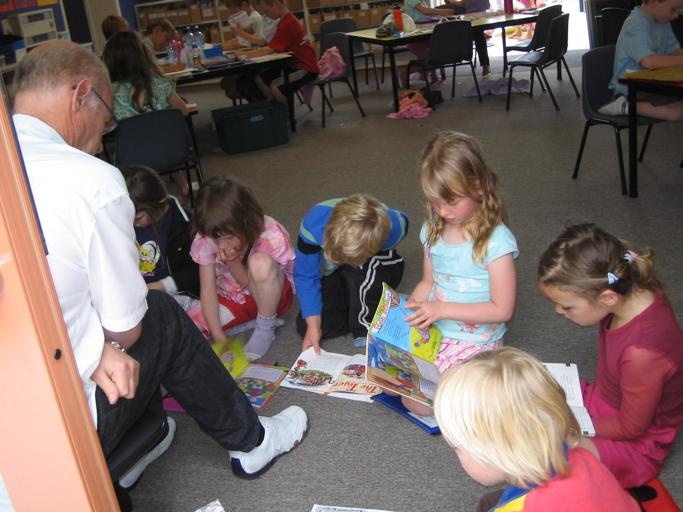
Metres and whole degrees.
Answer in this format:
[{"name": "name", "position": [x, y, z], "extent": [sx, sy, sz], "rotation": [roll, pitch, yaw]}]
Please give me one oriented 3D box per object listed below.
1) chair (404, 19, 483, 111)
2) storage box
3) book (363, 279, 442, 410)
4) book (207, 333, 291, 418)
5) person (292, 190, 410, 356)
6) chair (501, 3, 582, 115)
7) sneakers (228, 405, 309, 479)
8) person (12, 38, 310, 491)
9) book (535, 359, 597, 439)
[{"name": "chair", "position": [1.189, -2.275, 6.243], "extent": [0.848, 0.906, 1.117], "rotation": [-5, 24, 8]}, {"name": "storage box", "position": [-0.935, -1.298, 5.386], "extent": [0.753, 0.400, 0.487], "rotation": [-10, 14, -14]}, {"name": "book", "position": [0.220, 0.343, 1.901], "extent": [0.285, 0.424, 0.357], "rotation": [-5, 24, 9]}, {"name": "book", "position": [-0.394, 0.512, 2.245], "extent": [0.388, 0.051, 0.269], "rotation": [16, 34, 17]}, {"name": "person", "position": [0.014, 0.002, 2.366], "extent": [0.514, 0.740, 0.723], "rotation": [1, 49, 2]}, {"name": "chair", "position": [2.216, -2.139, 5.774], "extent": [0.718, 0.884, 1.335], "rotation": [3, 26, 25]}, {"name": "sneakers", "position": [-0.219, 0.640, 1.868], "extent": [0.133, 0.229, 0.342], "rotation": [25, 49, 23]}, {"name": "person", "position": [-0.608, 0.114, 1.585], "extent": [0.502, 1.431, 0.672], "rotation": [8, 29, 34]}, {"name": "book", "position": [0.607, 0.390, 1.430], "extent": [0.122, 0.019, 0.336], "rotation": [-4, 23, 5]}]
